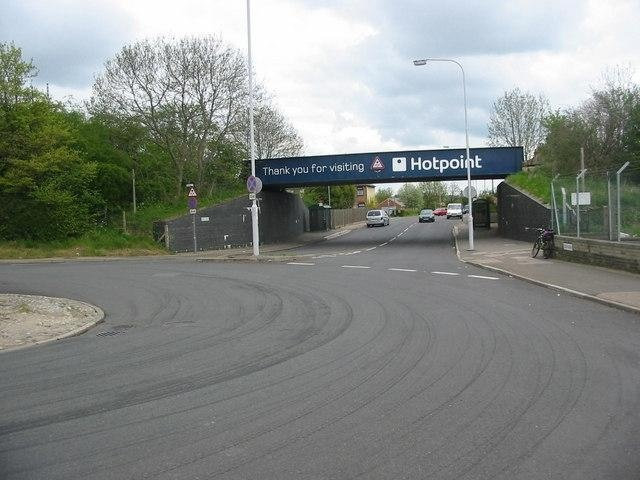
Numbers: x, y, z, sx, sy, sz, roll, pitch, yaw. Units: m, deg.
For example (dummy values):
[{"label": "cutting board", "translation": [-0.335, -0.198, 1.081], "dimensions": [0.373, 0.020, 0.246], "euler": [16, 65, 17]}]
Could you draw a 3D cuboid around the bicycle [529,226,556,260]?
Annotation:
[{"label": "bicycle", "translation": [8.662, 0.140, 21.900], "dimensions": [0.754, 1.103, 1.321], "euler": [-2, 7, 1]}]

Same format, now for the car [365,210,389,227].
[{"label": "car", "translation": [6.547, -2.470, 62.889], "dimensions": [1.288, 1.217, 2.611], "euler": [0, 9, 21]}]

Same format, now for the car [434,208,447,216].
[{"label": "car", "translation": [20.447, -5.020, 94.174], "dimensions": [2.223, 1.145, 1.595], "euler": [1, -2, -29]}]
